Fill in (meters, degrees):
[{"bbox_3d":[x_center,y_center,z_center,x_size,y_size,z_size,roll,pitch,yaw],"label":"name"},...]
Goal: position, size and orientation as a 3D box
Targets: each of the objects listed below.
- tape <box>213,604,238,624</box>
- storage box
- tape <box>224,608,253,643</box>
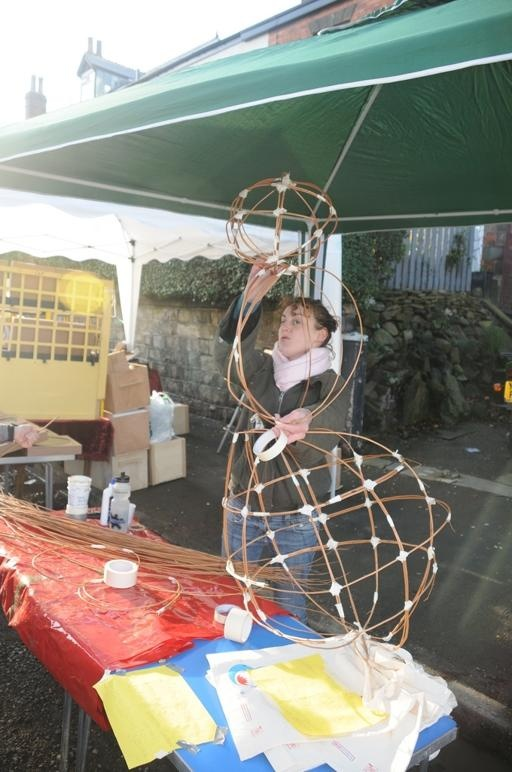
[{"bbox_3d":[-0.087,0.622,1.607,0.053,0.031,0.053,2,-6,-10],"label":"tape"},{"bbox_3d":[-0.914,0.278,4.540,0.320,1.077,0.812,12,11,32],"label":"storage box"},{"bbox_3d":[-0.045,0.633,1.553,0.066,0.085,0.101,7,9,7],"label":"tape"}]
